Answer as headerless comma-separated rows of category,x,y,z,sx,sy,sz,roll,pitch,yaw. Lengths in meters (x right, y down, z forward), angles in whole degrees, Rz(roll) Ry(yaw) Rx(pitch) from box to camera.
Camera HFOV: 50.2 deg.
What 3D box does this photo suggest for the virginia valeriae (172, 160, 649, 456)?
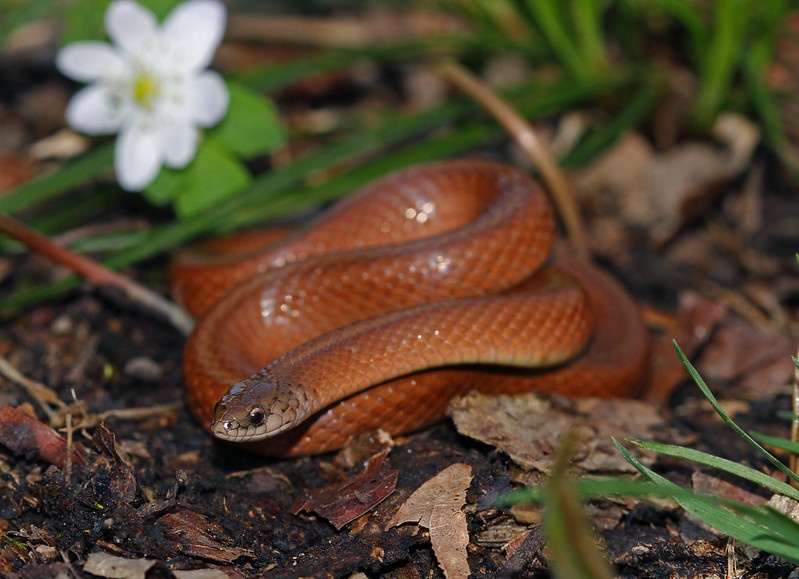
virginia valeriae,0.032,0.068,5.849,3.080,0.976,1.836,-10,60,-6
